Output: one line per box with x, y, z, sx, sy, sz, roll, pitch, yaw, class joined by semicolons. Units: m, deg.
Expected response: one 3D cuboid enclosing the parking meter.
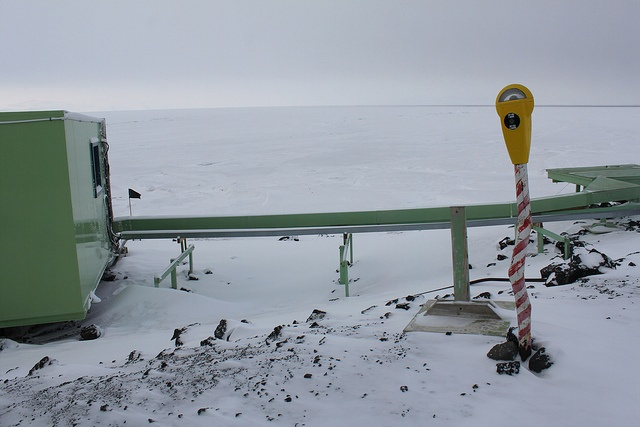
2.405;0.154;6.833;0.428;3.417;0.556;1;10;21;parking meter
